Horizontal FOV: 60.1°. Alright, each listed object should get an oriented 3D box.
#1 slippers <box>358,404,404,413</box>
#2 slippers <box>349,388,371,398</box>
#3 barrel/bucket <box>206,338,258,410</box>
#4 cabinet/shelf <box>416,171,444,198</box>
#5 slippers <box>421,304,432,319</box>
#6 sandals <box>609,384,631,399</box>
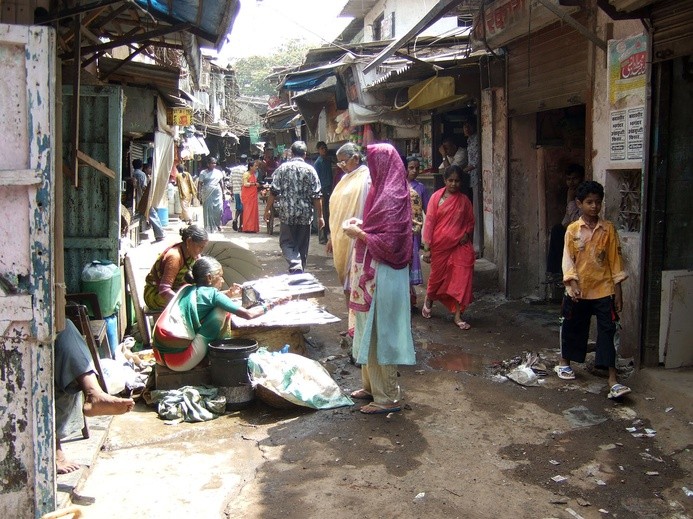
[{"bbox_3d":[0.293,1.211,4.922,0.292,0.090,0.120,3,-7,-6],"label":"slippers"},{"bbox_3d":[0.122,1.164,5.245,0.152,0.058,0.073,5,6,5],"label":"slippers"},{"bbox_3d":[-0.961,0.951,5.196,0.494,0.517,0.478,-2,4,0],"label":"barrel/bucket"},{"bbox_3d":[1.591,-1.404,11.324,0.455,0.467,0.474,3,5,15],"label":"cabinet/shelf"},{"bbox_3d":[1.042,0.677,7.727,0.170,0.122,0.447,0,-2,5],"label":"slippers"},{"bbox_3d":[2.287,1.100,5.011,0.086,0.085,0.210,-4,-12,-7],"label":"sandals"}]
